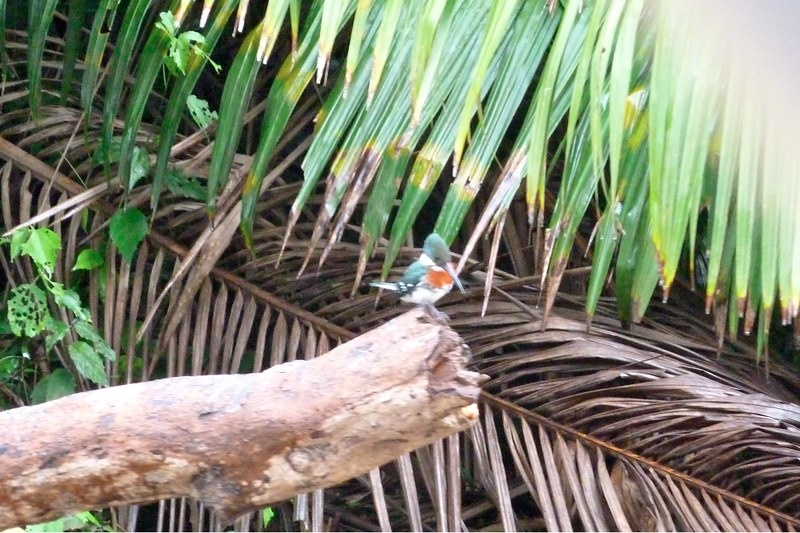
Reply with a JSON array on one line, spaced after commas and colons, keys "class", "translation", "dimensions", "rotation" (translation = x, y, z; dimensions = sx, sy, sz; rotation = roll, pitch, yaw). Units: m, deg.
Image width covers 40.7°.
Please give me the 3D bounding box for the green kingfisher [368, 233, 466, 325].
[{"class": "green kingfisher", "translation": [0.075, 0.040, 5.253], "dimensions": [0.613, 0.398, 0.200], "rotation": [11, 20, 36]}]
